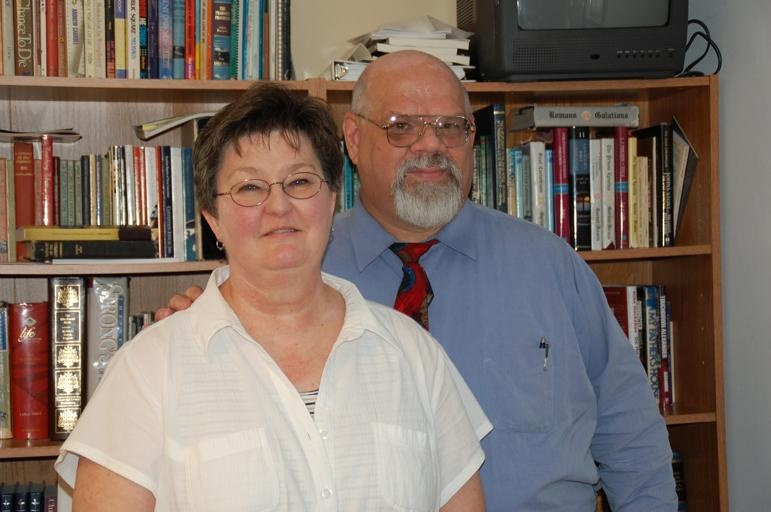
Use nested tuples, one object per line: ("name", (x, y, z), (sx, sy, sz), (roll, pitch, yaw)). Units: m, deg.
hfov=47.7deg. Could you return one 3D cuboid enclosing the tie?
("tie", (0.089, 0.106, 2.821), (0.163, 0.334, 0.035), (0, 21, 4))
